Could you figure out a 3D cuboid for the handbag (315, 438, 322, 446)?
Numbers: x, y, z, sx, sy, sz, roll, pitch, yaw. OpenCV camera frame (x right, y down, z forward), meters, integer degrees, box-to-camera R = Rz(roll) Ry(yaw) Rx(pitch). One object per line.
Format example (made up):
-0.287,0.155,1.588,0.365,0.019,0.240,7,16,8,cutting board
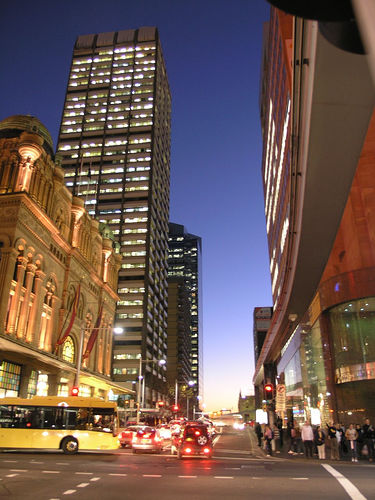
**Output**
7.217,10.844,21.855,0.206,0.340,0.522,2,-23,-6,handbag

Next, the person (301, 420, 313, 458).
6.749,10.883,22.341,0.559,1.857,0.924,-6,-23,14,person

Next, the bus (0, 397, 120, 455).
-8.174,11.803,26.395,9.049,3.807,3.278,0,-11,-3,bus

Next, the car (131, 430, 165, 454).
-2.602,13.134,26.814,1.174,0.921,1.995,0,-12,5,car

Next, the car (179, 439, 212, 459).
0.391,11.367,22.187,1.790,0.973,0.836,-2,-23,2,car

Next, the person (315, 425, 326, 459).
7.429,11.001,22.085,0.500,1.592,1.184,-8,-24,17,person

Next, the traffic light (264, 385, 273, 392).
5.853,10.176,28.651,0.543,0.137,0.563,-4,-33,3,traffic light
